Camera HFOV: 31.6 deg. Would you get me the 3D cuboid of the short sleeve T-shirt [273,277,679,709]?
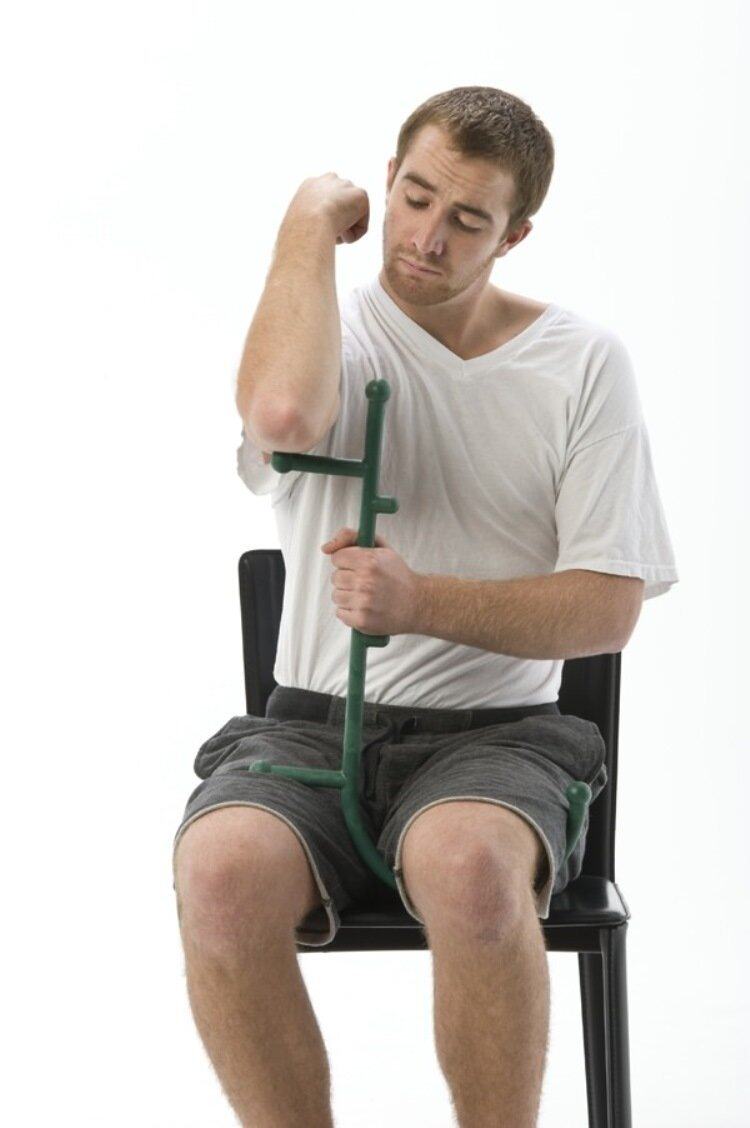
[{"bbox_3d":[0.092,-0.078,1.507,0.507,0.467,0.260,2,-6,3],"label":"short sleeve T-shirt"}]
